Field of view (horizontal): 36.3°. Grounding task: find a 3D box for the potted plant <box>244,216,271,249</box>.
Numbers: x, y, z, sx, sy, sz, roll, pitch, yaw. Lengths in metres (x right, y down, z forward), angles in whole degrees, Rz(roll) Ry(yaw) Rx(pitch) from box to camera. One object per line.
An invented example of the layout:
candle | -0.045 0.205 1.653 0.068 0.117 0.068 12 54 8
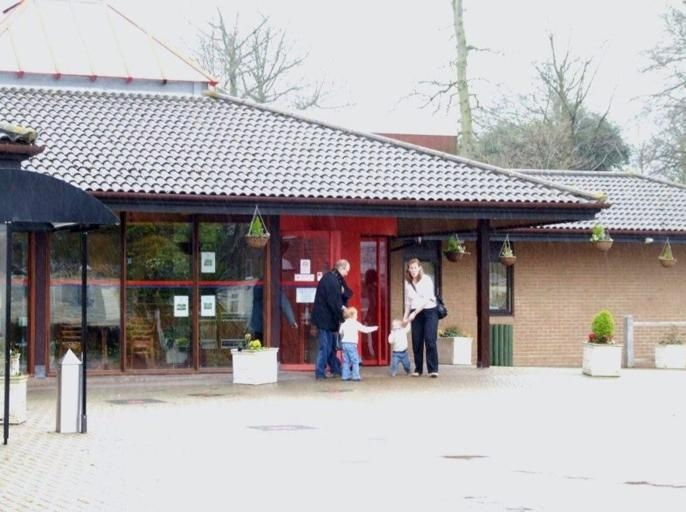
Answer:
potted plant | -1.666 -0.441 20.669 0.538 0.834 0.552 -4 -4 43

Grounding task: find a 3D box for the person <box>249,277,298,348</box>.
person | -1.496 1.136 21.511 1.213 2.020 0.553 2 5 27

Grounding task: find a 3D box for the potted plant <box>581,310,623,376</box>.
potted plant | 5.299 1.823 21.374 0.731 1.338 0.631 1 4 12

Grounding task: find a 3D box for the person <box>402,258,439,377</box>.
person | 1.542 1.239 20.603 0.677 2.327 0.831 1 3 4

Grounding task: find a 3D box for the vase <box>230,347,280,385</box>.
vase | -1.684 2.098 19.847 0.856 0.677 0.529 0 4 -10

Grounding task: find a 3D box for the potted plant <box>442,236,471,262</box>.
potted plant | 2.649 -0.194 24.450 0.580 0.586 0.524 7 -9 -44

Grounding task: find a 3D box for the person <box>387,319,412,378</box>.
person | 1.170 1.793 20.734 0.435 1.172 0.377 0 21 20

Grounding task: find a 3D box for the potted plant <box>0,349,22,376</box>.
potted plant | -5.223 1.693 16.375 0.368 0.424 0.415 -4 -7 35
